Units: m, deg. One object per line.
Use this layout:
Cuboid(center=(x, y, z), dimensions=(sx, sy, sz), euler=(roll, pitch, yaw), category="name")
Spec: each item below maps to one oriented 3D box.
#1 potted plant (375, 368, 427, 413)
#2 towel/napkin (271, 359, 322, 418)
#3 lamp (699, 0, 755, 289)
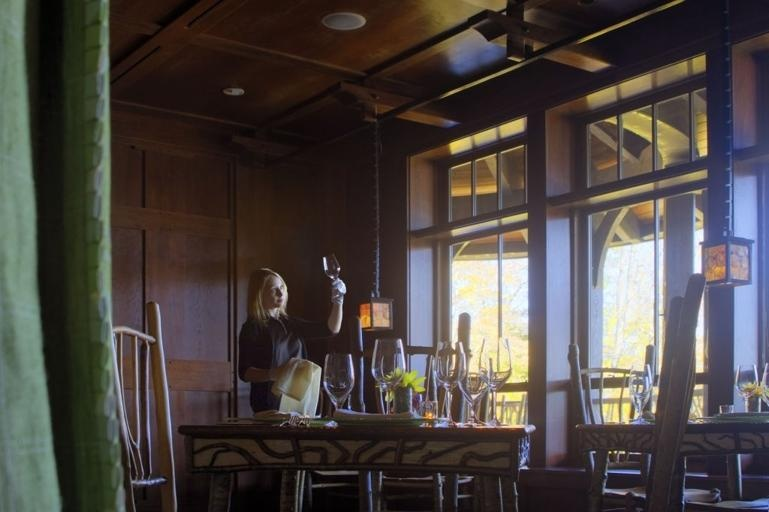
Cuboid(center=(0.061, 0.455, 2.826), dimensions=(0.161, 0.171, 0.161), euler=(2, -11, -10), category="potted plant")
Cuboid(center=(-0.348, 0.511, 3.269), dimensions=(0.178, 0.233, 0.570), euler=(2, -11, -7), category="towel/napkin")
Cuboid(center=(1.548, -0.533, 3.806), dimensions=(0.207, 1.384, 0.489), euler=(-4, -10, 24), category="lamp")
